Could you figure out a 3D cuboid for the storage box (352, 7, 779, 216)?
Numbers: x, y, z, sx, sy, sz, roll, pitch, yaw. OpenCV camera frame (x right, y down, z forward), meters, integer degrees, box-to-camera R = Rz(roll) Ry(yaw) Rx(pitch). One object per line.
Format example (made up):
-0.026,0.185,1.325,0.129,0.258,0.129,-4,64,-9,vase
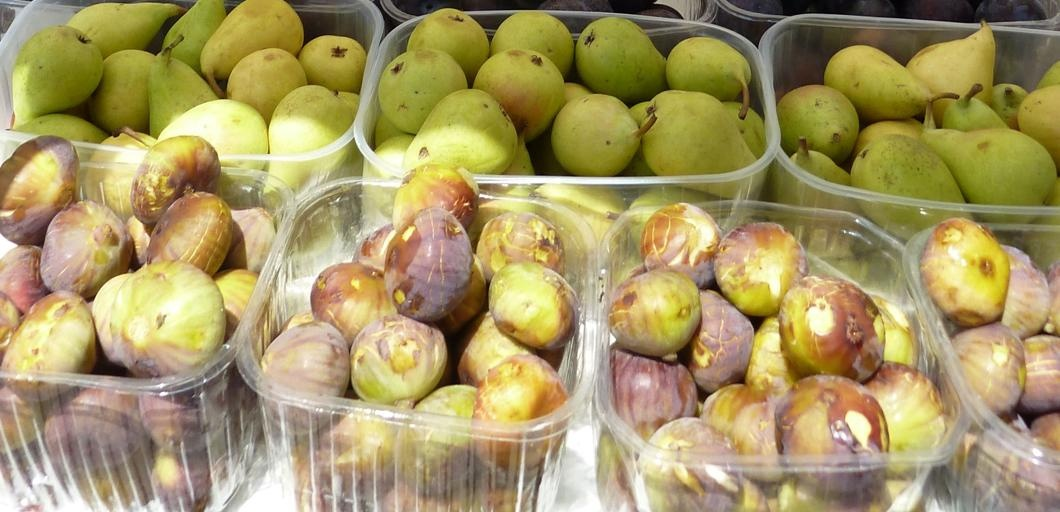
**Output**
0.095,-0.354,2.487,1.031,0.336,0.669,4,59,5,storage box
